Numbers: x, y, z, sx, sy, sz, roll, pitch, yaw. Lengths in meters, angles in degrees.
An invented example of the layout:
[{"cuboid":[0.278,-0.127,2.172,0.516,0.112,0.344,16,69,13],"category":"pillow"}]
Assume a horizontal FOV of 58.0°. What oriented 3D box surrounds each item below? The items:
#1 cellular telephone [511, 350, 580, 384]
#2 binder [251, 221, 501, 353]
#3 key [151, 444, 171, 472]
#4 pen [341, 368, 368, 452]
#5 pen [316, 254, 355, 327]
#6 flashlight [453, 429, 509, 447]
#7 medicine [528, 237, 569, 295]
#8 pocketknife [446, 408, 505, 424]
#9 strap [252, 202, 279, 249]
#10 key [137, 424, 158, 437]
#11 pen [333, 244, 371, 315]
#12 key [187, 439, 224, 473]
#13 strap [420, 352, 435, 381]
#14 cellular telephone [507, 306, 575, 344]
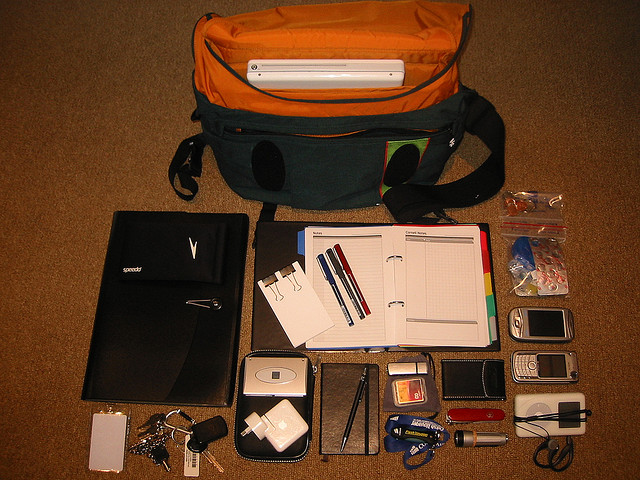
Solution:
[{"cuboid":[0.731,0.414,1.877,0.217,0.037,0.104,1,74,-2],"category":"cellular telephone"},{"cuboid":[0.185,0.146,1.900,0.808,0.070,0.428,1,74,-2],"category":"binder"},{"cuboid":[-0.499,0.685,1.825,0.046,0.020,0.082,-32,88,-1],"category":"key"},{"cuboid":[0.112,0.535,1.827,0.021,0.028,0.265,17,74,4],"category":"pen"},{"cuboid":[0.051,0.174,1.881,0.028,0.019,0.242,-21,81,-18],"category":"pen"},{"cuboid":[0.501,0.625,1.819,0.170,0.060,0.059,-1,60,0],"category":"flashlight"},{"cuboid":[0.779,0.089,1.950,0.141,0.048,0.181,2,82,-7],"category":"medicine"},{"cuboid":[0.499,0.556,1.832,0.235,0.058,0.060,2,76,-8],"category":"pocketknife"},{"cuboid":[-0.187,-0.063,1.993,0.057,0.034,0.188,6,59,12],"category":"strap"},{"cuboid":[-0.550,0.610,1.833,0.071,0.005,0.027,-23,77,5],"category":"key"},{"cuboid":[0.103,0.139,1.888,0.027,0.026,0.236,-27,80,13],"category":"pen"},{"cuboid":[-0.359,0.670,1.824,0.066,0.015,0.154,-43,108,-8],"category":"key"},{"cuboid":[0.352,0.405,1.852,0.038,0.013,0.064,-5,77,-12],"category":"strap"},{"cuboid":[0.729,0.278,1.898,0.211,0.031,0.114,1,74,-2],"category":"cellular telephone"}]
